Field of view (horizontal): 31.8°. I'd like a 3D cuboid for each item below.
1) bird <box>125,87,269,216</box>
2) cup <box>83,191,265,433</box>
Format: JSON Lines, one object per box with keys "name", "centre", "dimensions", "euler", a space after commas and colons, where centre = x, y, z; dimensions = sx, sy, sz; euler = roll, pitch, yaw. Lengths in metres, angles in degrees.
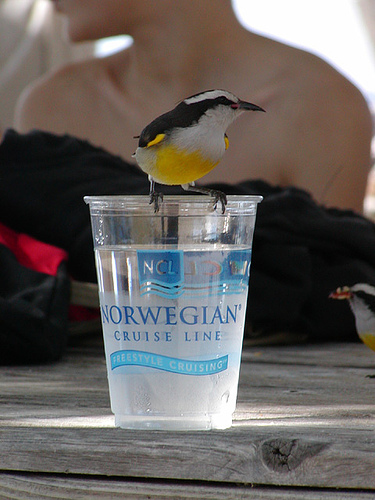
{"name": "bird", "centre": [-0.008, -0.081, 0.524], "dimensions": [0.075, 0.090, 0.144], "euler": [-2, 11, -34]}
{"name": "cup", "centre": [-0.015, 0.050, 0.531], "dimensions": [0.157, 0.135, 0.167], "euler": [1, 84, -7]}
